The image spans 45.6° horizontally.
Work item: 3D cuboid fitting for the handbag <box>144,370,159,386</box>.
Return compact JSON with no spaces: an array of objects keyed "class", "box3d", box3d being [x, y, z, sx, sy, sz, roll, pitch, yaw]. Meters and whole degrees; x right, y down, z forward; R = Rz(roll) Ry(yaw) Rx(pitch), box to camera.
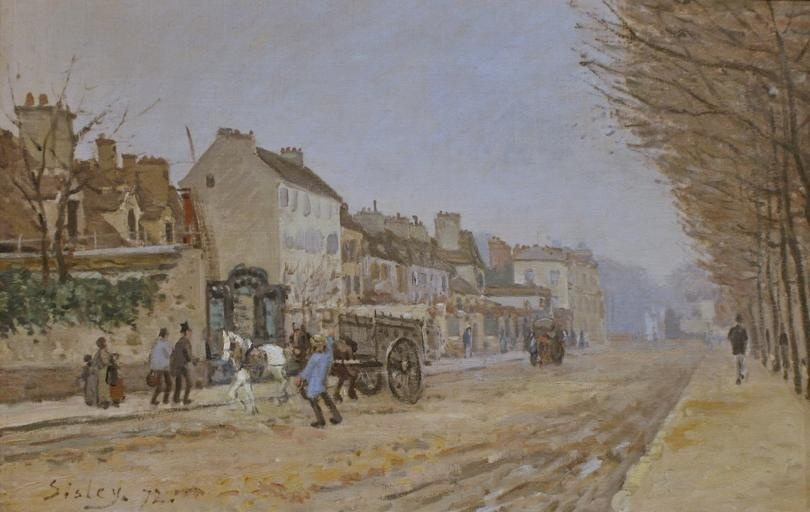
[{"class":"handbag","box3d":[-8.357,4.179,31.535,0.433,0.495,0.590,0,-3,-3]}]
